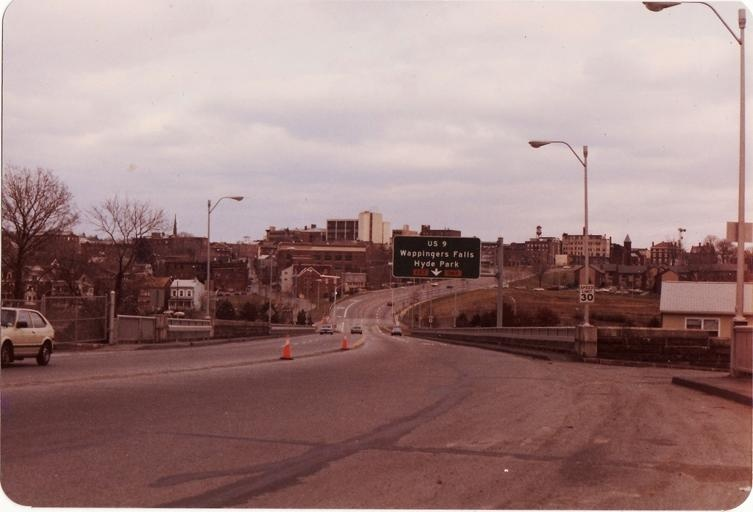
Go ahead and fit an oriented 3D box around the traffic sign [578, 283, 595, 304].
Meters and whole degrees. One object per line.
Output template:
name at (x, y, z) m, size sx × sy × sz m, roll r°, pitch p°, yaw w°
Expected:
traffic sign at (8.843, 1.549, 36.925) m, size 0.567 × 0.723 × 1.258 m, roll -1°, pitch -2°, yaw 10°
